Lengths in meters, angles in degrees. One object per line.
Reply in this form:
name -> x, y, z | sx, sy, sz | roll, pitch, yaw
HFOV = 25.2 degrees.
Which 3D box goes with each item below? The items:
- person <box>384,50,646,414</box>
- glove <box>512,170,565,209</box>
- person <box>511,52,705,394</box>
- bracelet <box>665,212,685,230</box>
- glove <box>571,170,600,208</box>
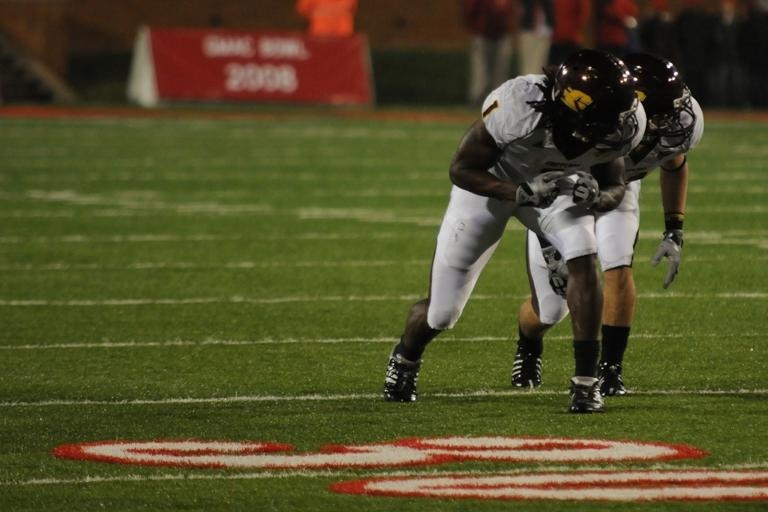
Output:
person -> 0.921, -0.151, 11.479 | 1.560, 2.402, 0.423 | 1, 10, 6
glove -> 1.004, -0.431, 11.296 | 0.254, 0.132, 0.317 | -1, 8, 4
person -> 1.493, -0.249, 12.045 | 1.163, 0.846, 2.884 | 8, -27, 10
bracelet -> 2.014, -0.237, 12.043 | 0.131, 0.093, 0.126 | 1, -10, -3
glove -> 1.312, -0.426, 11.331 | 0.176, 0.232, 0.130 | 1, 9, 5
